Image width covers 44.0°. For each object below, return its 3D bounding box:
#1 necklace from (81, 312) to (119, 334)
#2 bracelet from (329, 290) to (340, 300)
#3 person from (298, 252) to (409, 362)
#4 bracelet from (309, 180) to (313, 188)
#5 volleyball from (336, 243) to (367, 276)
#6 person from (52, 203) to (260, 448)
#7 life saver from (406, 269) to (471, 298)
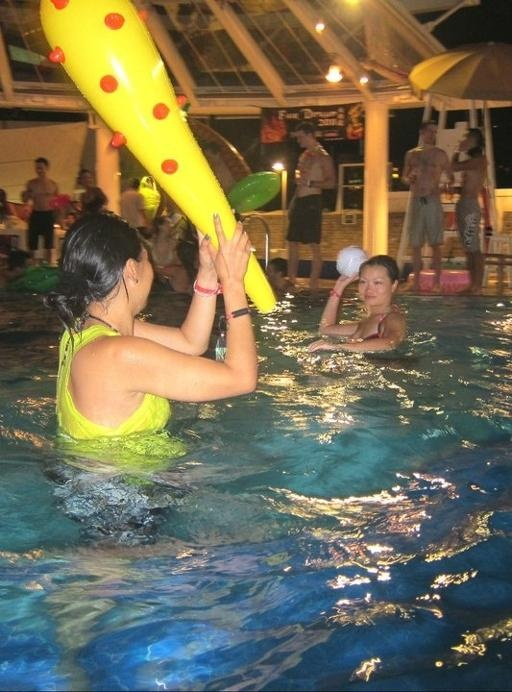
[{"bbox_3d":[-0.474,-0.076,1.892,0.074,0.070,0.020,39,51,7],"label":"necklace"},{"bbox_3d":[0.560,-0.364,4.521,0.063,0.024,0.072,13,-18,40],"label":"bracelet"},{"bbox_3d":[0.670,-0.237,4.326,0.773,0.701,0.712,0,0,-44],"label":"person"},{"bbox_3d":[0.687,-2.091,8.165,0.078,0.098,0.069,4,-1,-9],"label":"bracelet"},{"bbox_3d":[0.639,-0.561,4.275,0.193,0.206,0.228,3,11,7],"label":"volleyball"},{"bbox_3d":[-0.320,-0.017,1.857,0.397,0.720,0.659,-9,15,-41],"label":"person"},{"bbox_3d":[2.180,-0.777,7.597,0.722,0.243,0.994,4,10,12],"label":"life saver"}]
